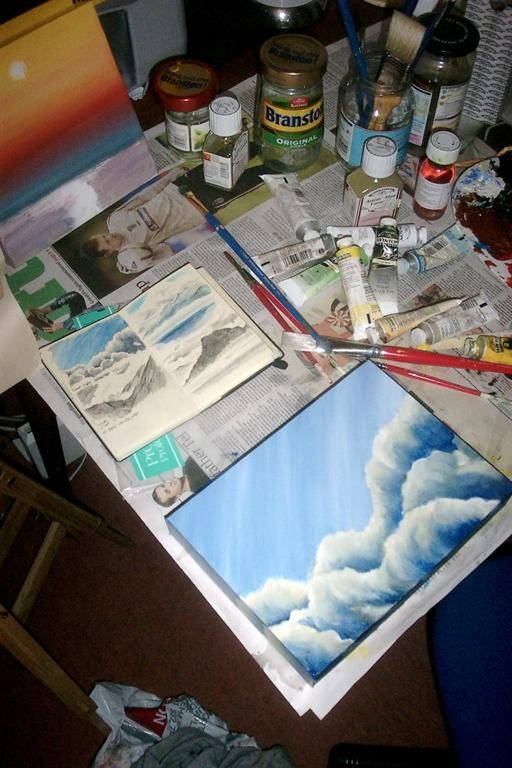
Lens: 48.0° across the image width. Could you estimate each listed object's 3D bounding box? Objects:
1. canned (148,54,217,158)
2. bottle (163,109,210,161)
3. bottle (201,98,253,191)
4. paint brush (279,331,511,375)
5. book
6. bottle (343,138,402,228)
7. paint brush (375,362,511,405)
[{"bbox_3d":[-0.073,-0.316,0.687,0.088,0.106,0.104,-3,76,-2],"label":"canned"},{"bbox_3d":[-0.081,-0.297,0.672,0.048,0.055,0.050,11,76,1],"label":"bottle"},{"bbox_3d":[-0.036,-0.269,0.651,0.045,0.092,0.055,28,71,9],"label":"bottle"},{"bbox_3d":[0.143,-0.031,0.591,0.215,0.012,0.023,9,96,-3],"label":"paint brush"},{"bbox_3d":[-0.095,-0.027,0.558,0.188,0.053,0.132,-31,58,-18],"label":"book"},{"bbox_3d":[0.129,-0.219,0.629,0.066,0.106,0.054,5,54,7],"label":"bottle"},{"bbox_3d":[0.191,0.000,0.579,0.107,0.008,0.008,18,43,8],"label":"paint brush"}]
